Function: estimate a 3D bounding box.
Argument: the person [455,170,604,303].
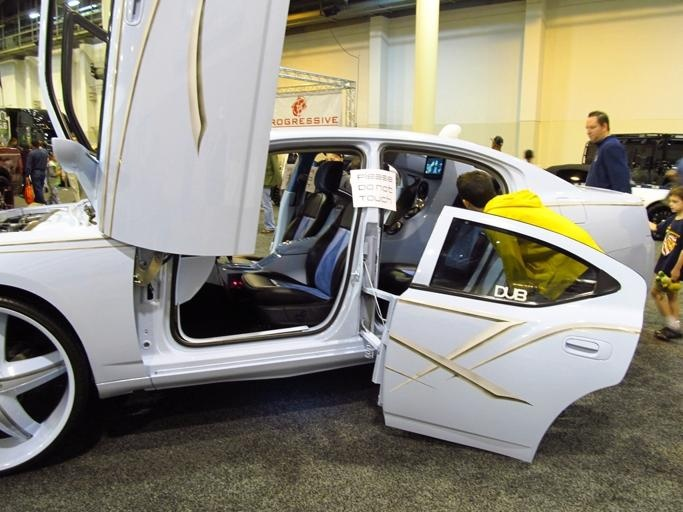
[{"bbox_3d":[1.021,-0.141,2.466,0.518,0.356,0.929,-10,29,-27],"label":"person"}]

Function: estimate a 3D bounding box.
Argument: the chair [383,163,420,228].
[{"bbox_3d":[0.453,-0.546,3.949,0.313,0.309,0.242,11,20,6],"label":"chair"}]

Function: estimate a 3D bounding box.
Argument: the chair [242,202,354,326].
[{"bbox_3d":[-0.245,0.009,2.991,0.723,0.800,0.546,1,9,-25],"label":"chair"}]

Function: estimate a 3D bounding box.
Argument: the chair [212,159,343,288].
[{"bbox_3d":[-0.437,-0.197,3.583,0.859,0.985,0.687,-11,14,-24],"label":"chair"}]
